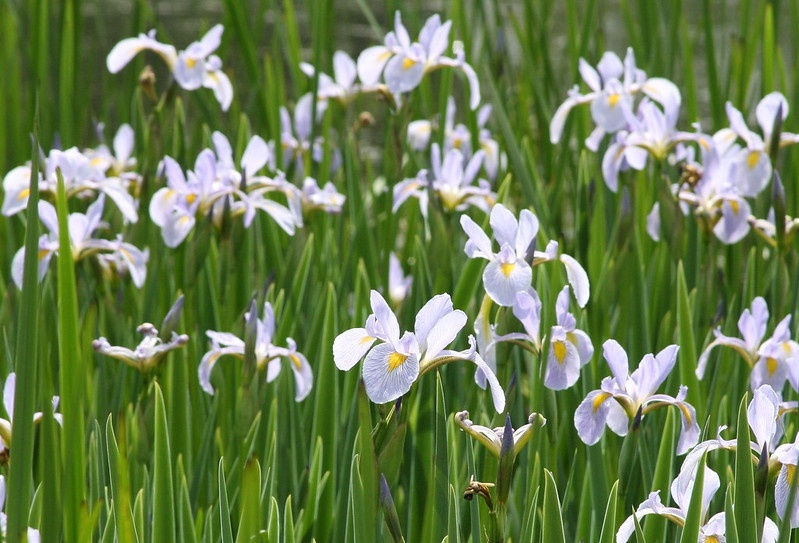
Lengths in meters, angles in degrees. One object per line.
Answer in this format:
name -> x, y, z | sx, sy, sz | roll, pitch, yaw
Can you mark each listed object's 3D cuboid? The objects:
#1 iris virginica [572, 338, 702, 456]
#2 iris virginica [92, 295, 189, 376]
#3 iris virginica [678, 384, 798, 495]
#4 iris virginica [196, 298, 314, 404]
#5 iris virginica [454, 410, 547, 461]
iris virginica -> 0.678, 0.369, 4.246 | 0.357, 0.298, 0.214 | -8, -3, 8
iris virginica -> -0.768, 0.204, 4.333 | 0.269, 0.147, 0.277 | -6, -5, -25
iris virginica -> 0.994, 0.448, 4.190 | 0.467, 0.247, 0.234 | -5, -3, -37
iris virginica -> -0.452, 0.268, 4.465 | 0.334, 0.215, 0.492 | -9, -4, 15
iris virginica -> 0.311, 0.448, 4.180 | 0.336, 0.110, 0.171 | -6, -5, -37
